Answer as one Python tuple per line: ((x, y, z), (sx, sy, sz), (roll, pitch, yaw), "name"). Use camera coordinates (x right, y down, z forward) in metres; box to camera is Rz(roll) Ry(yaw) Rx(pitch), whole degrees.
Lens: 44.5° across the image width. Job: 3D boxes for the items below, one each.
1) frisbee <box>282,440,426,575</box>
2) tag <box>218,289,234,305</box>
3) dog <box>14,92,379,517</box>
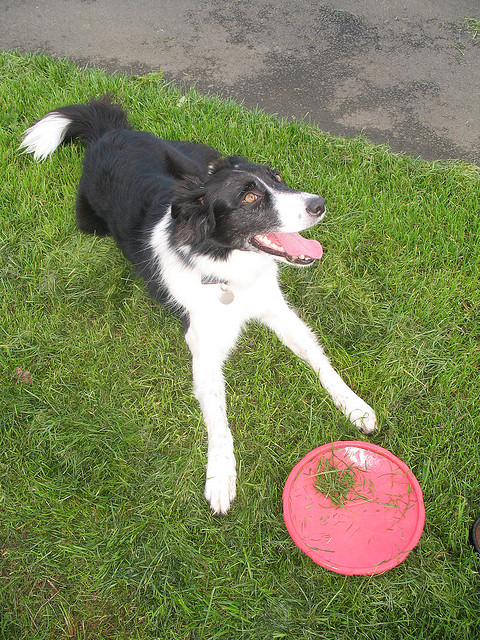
((0.579, 0.975, 3.076), (0.715, 0.334, 0.673), (4, 32, 4), "frisbee")
((-0.088, -0.138, 3.548), (0.096, 0.085, 0.039), (-2, 34, -6), "tag")
((-0.373, -0.592, 3.855), (1.501, 1.348, 2.982), (-23, 70, -16), "dog")
